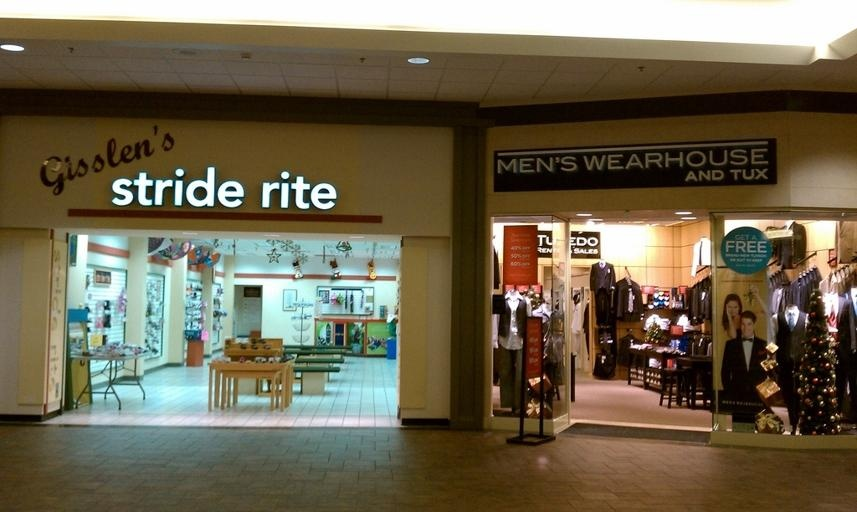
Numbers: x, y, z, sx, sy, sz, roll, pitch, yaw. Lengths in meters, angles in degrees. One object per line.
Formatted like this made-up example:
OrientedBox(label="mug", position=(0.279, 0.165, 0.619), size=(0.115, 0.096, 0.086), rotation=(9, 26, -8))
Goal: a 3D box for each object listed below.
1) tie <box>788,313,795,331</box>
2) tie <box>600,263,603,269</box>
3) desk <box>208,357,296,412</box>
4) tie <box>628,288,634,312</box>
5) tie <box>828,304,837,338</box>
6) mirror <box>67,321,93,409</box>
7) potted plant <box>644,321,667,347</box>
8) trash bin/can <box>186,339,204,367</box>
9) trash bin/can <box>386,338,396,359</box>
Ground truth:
OrientedBox(label="tie", position=(6.042, 1.086, 10.847), size=(0.146, 0.253, 0.026), rotation=(1, 8, -1))
OrientedBox(label="tie", position=(4.259, 0.244, 15.985), size=(0.085, 0.102, 0.038), rotation=(5, -7, 5))
OrientedBox(label="desk", position=(-3.542, 2.601, 13.193), size=(1.900, 0.804, 1.905), rotation=(-5, -11, 32))
OrientedBox(label="tie", position=(4.929, 1.071, 15.885), size=(0.142, 0.542, 0.113), rotation=(2, 8, 10))
OrientedBox(label="tie", position=(6.707, 1.049, 10.826), size=(0.154, 0.506, 0.093), rotation=(1, 8, -2))
OrientedBox(label="mirror", position=(-6.757, 2.089, 12.536), size=(0.377, 1.590, 1.068), rotation=(-3, 8, -25))
OrientedBox(label="potted plant", position=(5.512, 1.893, 15.768), size=(0.514, 0.500, 0.489), rotation=(-3, 3, -16))
OrientedBox(label="trash bin/can", position=(-6.769, 2.761, 18.684), size=(0.452, 0.716, 0.410), rotation=(1, 7, -1))
OrientedBox(label="trash bin/can", position=(-1.339, 3.246, 23.049), size=(0.304, 0.665, 0.816), rotation=(0, 8, -9))
